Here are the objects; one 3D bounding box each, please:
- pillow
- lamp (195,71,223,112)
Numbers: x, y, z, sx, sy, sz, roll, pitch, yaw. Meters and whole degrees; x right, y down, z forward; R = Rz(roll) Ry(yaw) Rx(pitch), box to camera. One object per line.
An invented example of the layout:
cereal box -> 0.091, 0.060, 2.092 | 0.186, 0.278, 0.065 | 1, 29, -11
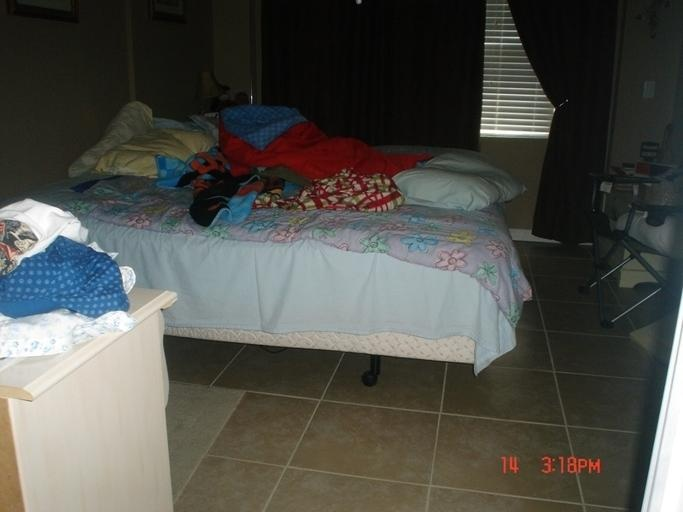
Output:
pillow -> 0.646, -0.397, 3.211 | 0.743, 0.136, 0.741 | 6, -11, -7
lamp -> -1.164, -1.462, 5.015 | 0.222, 0.359, 0.380 | 0, 25, -3
